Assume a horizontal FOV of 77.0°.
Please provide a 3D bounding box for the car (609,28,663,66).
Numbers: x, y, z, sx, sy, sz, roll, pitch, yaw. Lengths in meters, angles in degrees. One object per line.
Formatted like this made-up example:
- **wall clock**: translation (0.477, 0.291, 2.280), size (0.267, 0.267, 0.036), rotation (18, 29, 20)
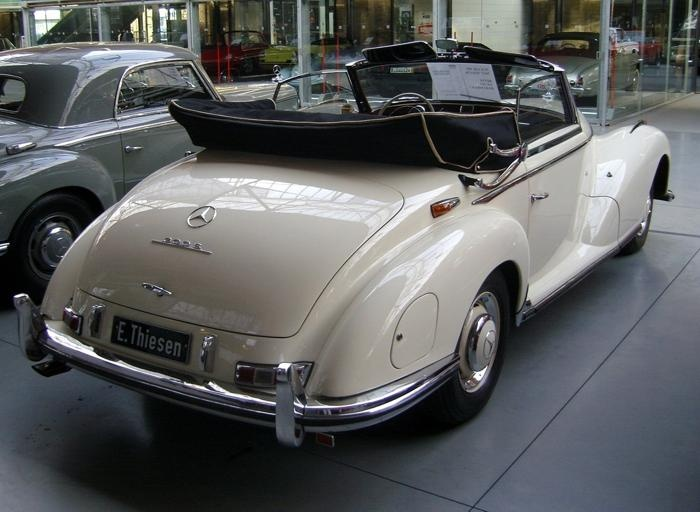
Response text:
- **car**: translation (7.217, -5.402, 11.519), size (2.388, 0.886, 1.303), rotation (-21, 27, -38)

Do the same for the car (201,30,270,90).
- **car**: translation (-3.494, -6.038, 13.402), size (1.155, 0.811, 2.148), rotation (26, 42, 37)

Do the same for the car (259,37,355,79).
- **car**: translation (-1.178, -5.619, 12.383), size (2.003, 0.697, 1.199), rotation (-5, 17, -1)
